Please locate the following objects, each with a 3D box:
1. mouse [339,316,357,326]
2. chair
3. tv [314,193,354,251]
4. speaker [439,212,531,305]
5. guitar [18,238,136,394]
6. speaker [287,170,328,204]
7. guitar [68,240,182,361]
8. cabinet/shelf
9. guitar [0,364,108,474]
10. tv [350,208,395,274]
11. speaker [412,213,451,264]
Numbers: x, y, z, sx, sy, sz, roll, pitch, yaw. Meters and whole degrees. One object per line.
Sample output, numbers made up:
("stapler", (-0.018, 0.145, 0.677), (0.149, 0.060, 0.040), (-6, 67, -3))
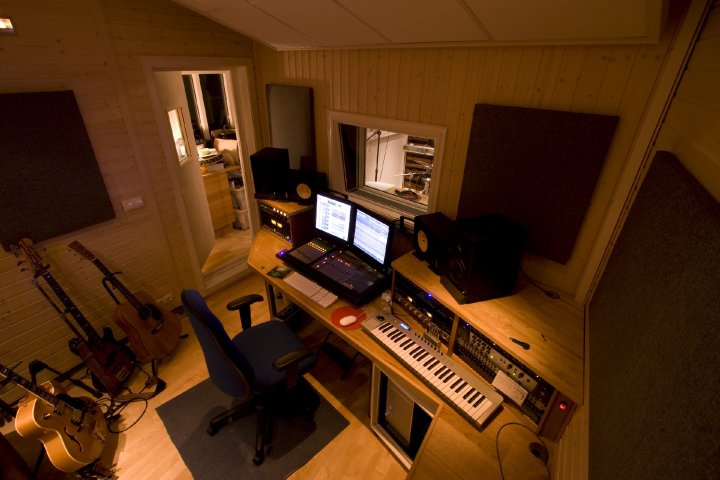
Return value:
("mouse", (-0.099, 0.653, 3.972), (0.100, 0.024, 0.073), (-20, 41, -21))
("chair", (-0.891, 0.971, 4.116), (0.932, 1.498, 0.967), (-19, 38, -34))
("tv", (-0.241, -0.164, 4.522), (0.162, 0.460, 0.420), (-16, 25, -41))
("speaker", (0.897, 0.180, 3.540), (0.689, 0.724, 0.444), (-14, 35, -13))
("guitar", (-2.584, 0.698, 4.393), (0.216, 1.651, 0.498), (-12, 32, 32))
("speaker", (-0.528, -0.528, 4.759), (0.353, 0.341, 0.092), (10, 9, 10))
("guitar", (-2.263, 0.582, 4.602), (0.166, 1.217, 0.461), (-19, 39, 18))
("cabinet/shelf", (0.447, 0.846, 3.764), (2.446, 0.991, 1.314), (17, 33, 27))
("guitar", (-2.380, 1.382, 3.854), (0.536, 0.777, 0.523), (-14, 32, -24))
("tv", (0.097, 0.020, 4.234), (0.044, 0.452, 0.439), (-19, 38, -37))
("speaker", (0.567, 0.000, 3.872), (0.186, 0.336, 0.270), (-6, 29, -14))
